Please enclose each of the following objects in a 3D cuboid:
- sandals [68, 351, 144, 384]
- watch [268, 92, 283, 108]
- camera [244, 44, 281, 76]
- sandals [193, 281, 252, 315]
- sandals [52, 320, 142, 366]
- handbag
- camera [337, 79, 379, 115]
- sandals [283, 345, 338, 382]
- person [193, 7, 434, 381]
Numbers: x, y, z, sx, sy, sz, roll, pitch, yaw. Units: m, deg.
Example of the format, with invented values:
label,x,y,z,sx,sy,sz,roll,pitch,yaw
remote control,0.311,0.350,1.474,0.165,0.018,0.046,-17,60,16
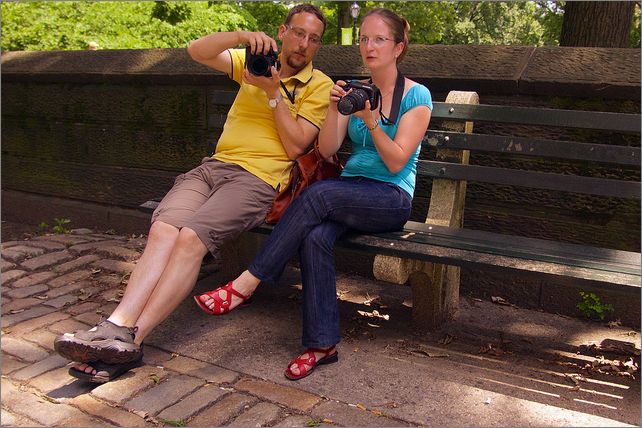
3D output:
label,x,y,z,sx,sy,sz,roll,pitch,yaw
sandals,-1.288,0.934,2.831,0.150,0.150,0.378,-2,-8,41
watch,-0.295,-0.809,3.263,0.071,0.107,0.103,45,26,1
camera,-0.385,-1.022,3.150,0.251,0.202,0.237,-2,7,8
sandals,-0.567,0.529,3.006,0.426,0.154,0.162,-16,63,-48
sandals,-1.257,0.781,2.770,0.560,0.188,0.277,6,35,-16
handbag,-0.109,-0.220,3.188,0.242,0.506,0.584,40,38,19
camera,0.249,-0.762,2.933,0.304,0.125,0.339,-5,38,-7
sandals,-0.052,0.937,2.943,0.375,0.147,0.138,-8,11,-30
person,0.132,-0.219,3.050,0.801,2.260,1.394,15,22,29
